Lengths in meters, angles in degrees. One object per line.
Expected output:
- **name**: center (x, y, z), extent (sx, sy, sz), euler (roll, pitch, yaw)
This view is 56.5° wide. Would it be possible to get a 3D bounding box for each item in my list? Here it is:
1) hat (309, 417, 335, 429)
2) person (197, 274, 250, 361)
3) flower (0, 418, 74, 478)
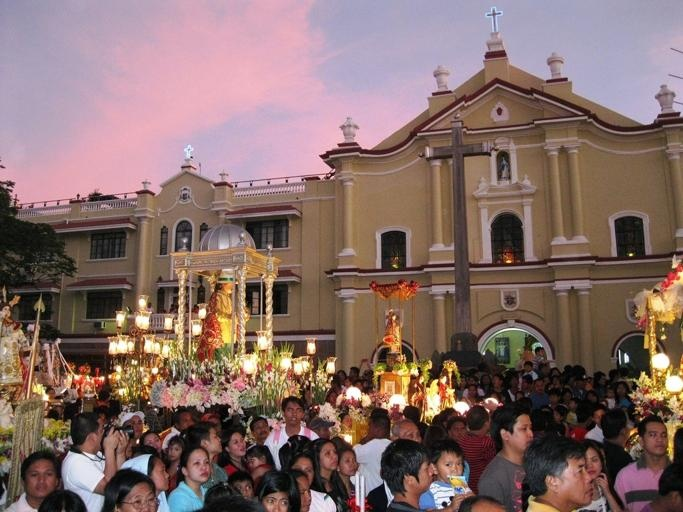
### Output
- **hat**: center (-0.357, 2.785, 10.555), extent (0.376, 0.181, 0.621), euler (-2, -11, 9)
- **person**: center (-2.573, 1.313, 13.497), extent (1.179, 1.917, 0.767), euler (5, 15, 12)
- **flower**: center (-4.324, 2.640, 8.884), extent (0.869, 0.617, 2.141), euler (2, -11, -11)
